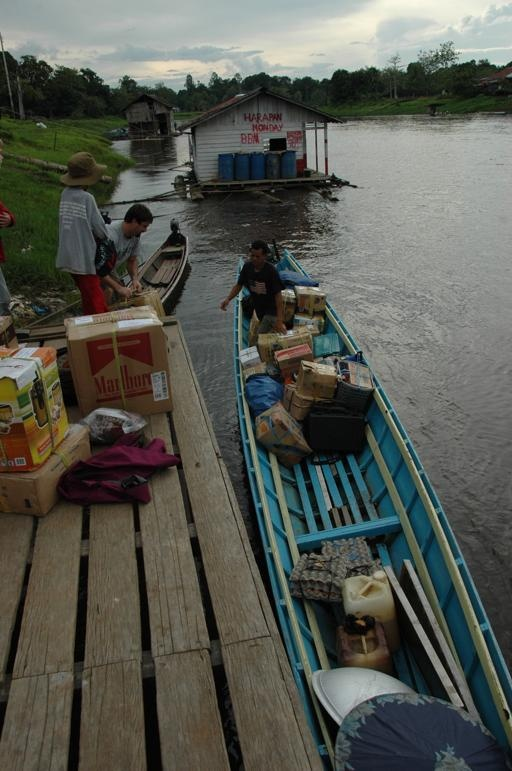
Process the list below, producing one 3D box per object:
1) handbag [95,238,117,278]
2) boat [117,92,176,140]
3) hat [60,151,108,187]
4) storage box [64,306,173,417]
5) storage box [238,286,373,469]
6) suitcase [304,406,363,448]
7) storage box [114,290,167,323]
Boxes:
[{"bbox_3d":[-1.717,-1.435,5.852,0.108,0.375,0.234,11,14,20],"label":"handbag"},{"bbox_3d":[-13.190,-33.906,63.796,4.857,4.828,7.898,3,41,3],"label":"boat"},{"bbox_3d":[-1.853,-2.286,5.497,0.432,0.358,0.444,0,28,3],"label":"hat"},{"bbox_3d":[-1.156,-0.147,4.483,0.860,0.881,0.854,-3,-5,-13],"label":"storage box"},{"bbox_3d":[0.502,-0.057,6.001,0.997,0.586,1.792,-4,37,-3],"label":"storage box"},{"bbox_3d":[0.811,0.458,5.507,0.424,0.391,0.144,2,30,-3],"label":"suitcase"},{"bbox_3d":[-1.422,-1.003,6.400,0.492,0.312,0.873,-15,16,0],"label":"storage box"}]
